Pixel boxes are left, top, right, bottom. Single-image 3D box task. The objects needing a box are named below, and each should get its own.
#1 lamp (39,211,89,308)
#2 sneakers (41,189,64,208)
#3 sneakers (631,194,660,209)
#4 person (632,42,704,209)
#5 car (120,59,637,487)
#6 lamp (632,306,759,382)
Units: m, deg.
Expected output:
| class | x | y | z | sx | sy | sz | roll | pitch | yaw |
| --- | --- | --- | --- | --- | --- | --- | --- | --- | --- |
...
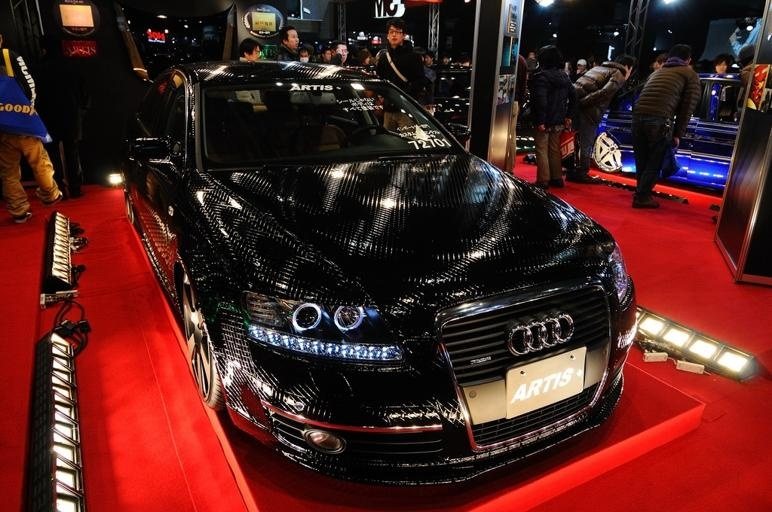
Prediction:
| class | x | y | z | sx | sy | sz | roll | pitch | yaw |
| --- | --- | --- | --- | --- | --- | --- | --- | --- | --- |
| lamp | -2.992 | 0.050 | 4.254 | 0.252 | 0.194 | 0.929 | -10 | 35 | -21 |
| sneakers | -4.297 | -0.742 | 5.956 | 0.333 | 0.140 | 0.142 | -26 | 52 | 15 |
| sneakers | 3.633 | -0.760 | 6.426 | 0.321 | 0.223 | 0.106 | -5 | 44 | 6 |
| person | 3.741 | -1.728 | 6.232 | 0.689 | 2.042 | 0.728 | 1 | 26 | 2 |
| car | -0.144 | -0.136 | 2.741 | 2.080 | 1.653 | 2.720 | -18 | 32 | -32 |
| lamp | 2.130 | 0.675 | 3.315 | 0.465 | 0.144 | 0.795 | -17 | 31 | -31 |
